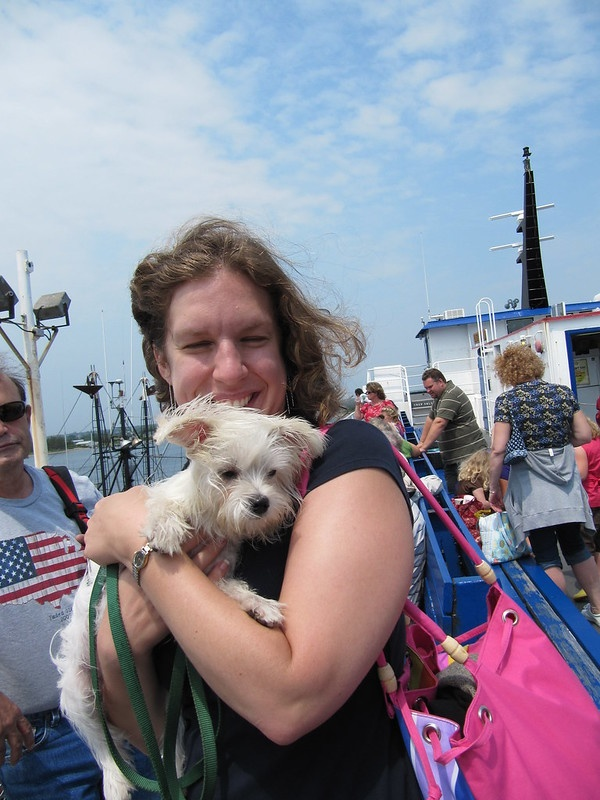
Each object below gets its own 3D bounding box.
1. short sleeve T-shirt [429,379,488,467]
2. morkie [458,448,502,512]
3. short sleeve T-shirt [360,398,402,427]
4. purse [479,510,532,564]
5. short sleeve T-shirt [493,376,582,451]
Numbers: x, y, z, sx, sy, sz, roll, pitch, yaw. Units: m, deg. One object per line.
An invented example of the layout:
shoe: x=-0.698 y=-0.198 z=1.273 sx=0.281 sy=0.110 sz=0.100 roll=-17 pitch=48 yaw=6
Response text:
short sleeve T-shirt: x=2.388 y=0.374 z=9.445 sx=0.937 sy=1.214 sz=0.921 roll=-4 pitch=-7 yaw=-13
morkie: x=2.114 y=0.930 z=7.253 sx=0.599 sy=0.649 sz=0.505 roll=-2 pitch=0 yaw=3
short sleeve T-shirt: x=1.292 y=0.194 z=9.840 sx=0.538 sy=0.277 sz=0.499 roll=-25 pitch=32 yaw=-24
purse: x=1.689 y=1.149 z=4.994 sx=0.480 sy=0.431 sz=0.271 roll=-2 pitch=-12 yaw=-29
short sleeve T-shirt: x=2.154 y=0.113 z=5.552 sx=0.901 sy=0.645 sz=0.390 roll=-7 pitch=7 yaw=-6
